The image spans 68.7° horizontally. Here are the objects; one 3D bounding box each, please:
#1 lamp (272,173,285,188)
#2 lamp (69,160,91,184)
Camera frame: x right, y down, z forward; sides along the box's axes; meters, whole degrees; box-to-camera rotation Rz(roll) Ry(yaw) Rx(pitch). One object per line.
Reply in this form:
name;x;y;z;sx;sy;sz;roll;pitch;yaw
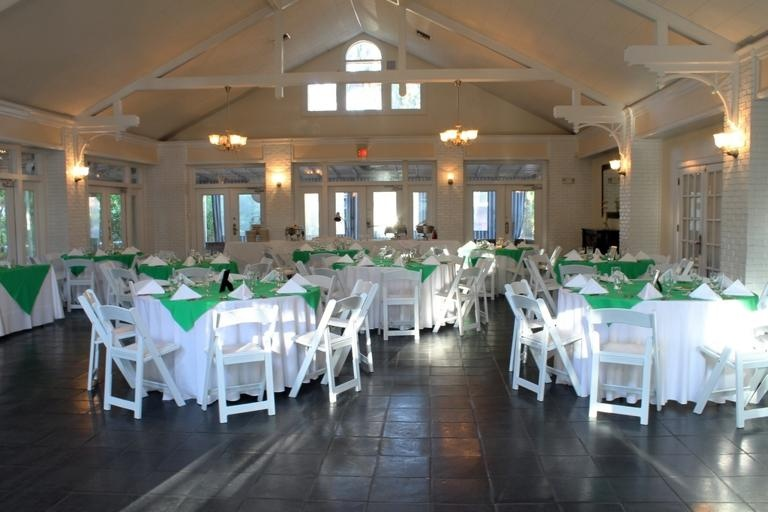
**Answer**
lamp;-2.882;-2.071;15.342;0.394;0.353;0.392;10;17;33
lamp;-6.623;-1.854;12.343;0.289;0.467;0.397;-1;2;3
